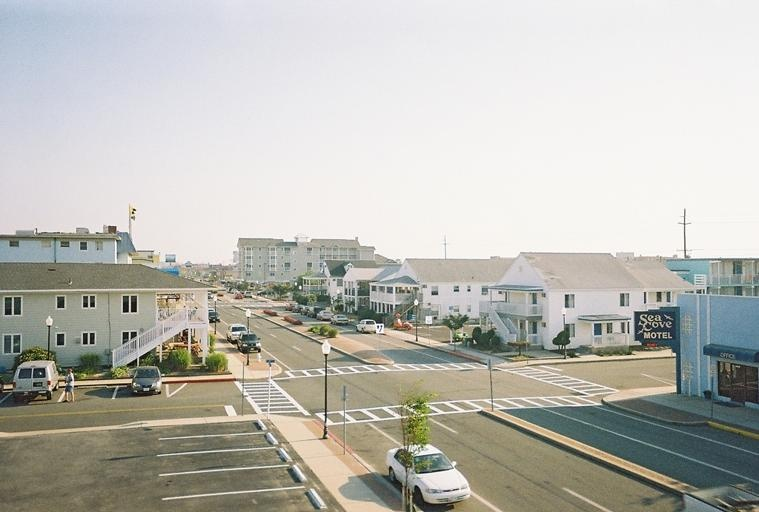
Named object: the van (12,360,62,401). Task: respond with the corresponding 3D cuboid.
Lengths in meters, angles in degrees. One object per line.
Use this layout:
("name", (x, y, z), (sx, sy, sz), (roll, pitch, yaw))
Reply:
("van", (-23.996, 8.493, 49.250), (2.082, 1.691, 3.482), (0, 0, -23))

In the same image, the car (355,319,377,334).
("car", (-1.675, 8.326, 82.632), (1.355, 0.927, 2.228), (1, 3, -16))

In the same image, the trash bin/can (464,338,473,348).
("trash bin/can", (9.053, 8.775, 71.693), (0.884, 1.463, 0.846), (3, -5, -6))

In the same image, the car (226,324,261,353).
("car", (-13.045, 8.238, 68.763), (2.100, 1.581, 5.613), (0, -6, -22))

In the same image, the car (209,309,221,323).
("car", (-20.142, 7.426, 86.887), (2.507, 1.717, 5.284), (0, -6, -15))

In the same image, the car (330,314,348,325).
("car", (-5.504, 8.326, 92.776), (1.423, 1.183, 2.312), (-1, 3, -35))
